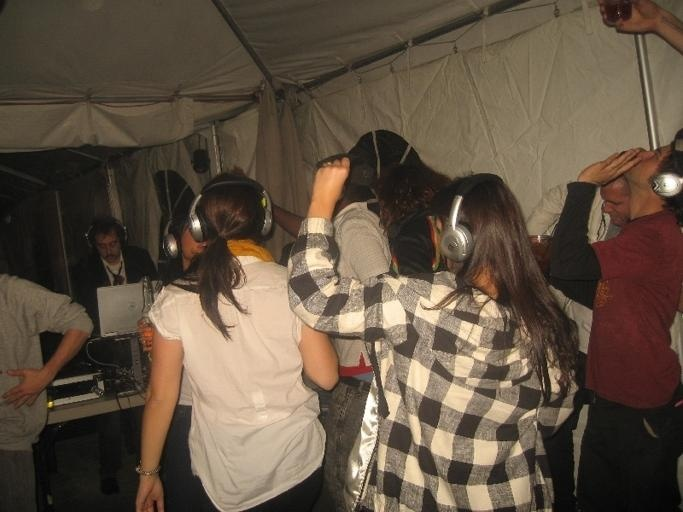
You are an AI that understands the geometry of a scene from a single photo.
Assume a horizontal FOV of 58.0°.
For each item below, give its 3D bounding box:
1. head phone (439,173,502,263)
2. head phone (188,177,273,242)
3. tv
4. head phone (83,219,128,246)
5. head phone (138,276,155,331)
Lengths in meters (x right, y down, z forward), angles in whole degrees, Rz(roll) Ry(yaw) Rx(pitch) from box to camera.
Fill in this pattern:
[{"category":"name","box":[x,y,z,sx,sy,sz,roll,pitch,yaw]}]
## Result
[{"category":"head phone","box":[0.541,-0.147,2.538,0.137,0.375,0.296,20,5,37]},{"category":"head phone","box":[-0.523,-0.227,2.960,0.384,0.344,0.143,-3,-12,-6]},{"category":"tv","box":[-1.408,0.348,4.128,0.508,0.375,0.377,-4,13,-26]},{"category":"head phone","box":[-2.074,-0.206,5.477,0.278,0.257,0.115,-10,35,-12]},{"category":"head phone","box":[-1.174,0.297,3.701,0.083,0.352,0.137,1,-3,8]}]
